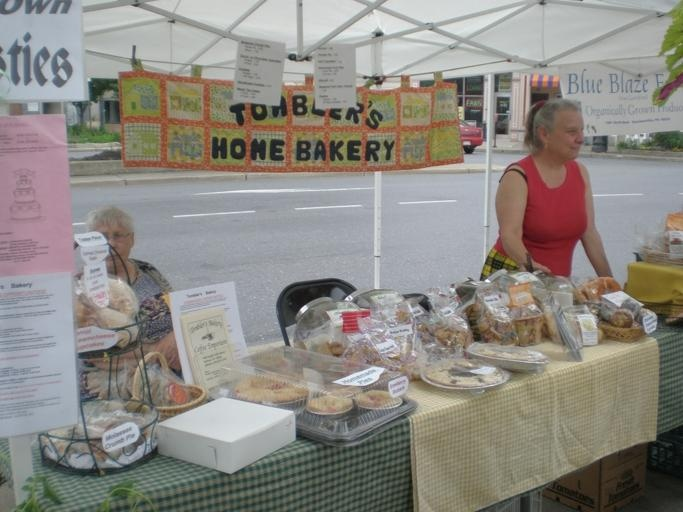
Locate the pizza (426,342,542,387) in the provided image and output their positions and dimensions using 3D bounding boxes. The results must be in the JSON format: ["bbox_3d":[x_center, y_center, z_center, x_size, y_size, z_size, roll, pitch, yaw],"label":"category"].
[{"bbox_3d":[0.571,0.444,2.212,0.453,0.148,0.299,-7,11,-37],"label":"pizza"}]

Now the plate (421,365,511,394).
[{"bbox_3d":[0.496,0.477,2.151,0.324,0.040,0.241,-5,11,-13],"label":"plate"}]

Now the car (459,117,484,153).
[{"bbox_3d":[4.642,-4.141,19.341,0.637,1.218,3.835,0,11,15],"label":"car"}]

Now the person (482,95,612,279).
[{"bbox_3d":[1.196,-0.360,3.537,0.683,1.194,0.725,-12,17,-43],"label":"person"}]

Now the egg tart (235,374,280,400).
[{"bbox_3d":[-0.303,0.456,1.966,0.094,0.031,0.098,3,3,6],"label":"egg tart"}]
